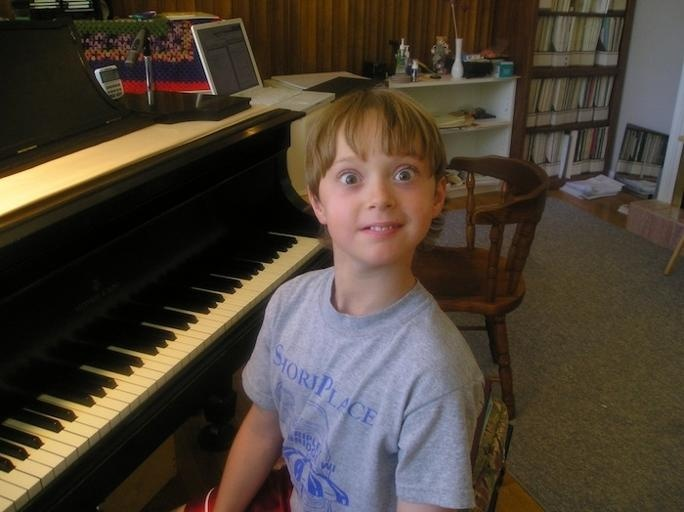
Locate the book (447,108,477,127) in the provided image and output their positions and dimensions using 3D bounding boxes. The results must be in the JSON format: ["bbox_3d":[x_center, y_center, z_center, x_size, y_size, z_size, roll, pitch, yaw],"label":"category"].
[{"bbox_3d":[1.015,-1.151,4.257,0.198,0.081,0.205,7,21,17],"label":"book"}]
